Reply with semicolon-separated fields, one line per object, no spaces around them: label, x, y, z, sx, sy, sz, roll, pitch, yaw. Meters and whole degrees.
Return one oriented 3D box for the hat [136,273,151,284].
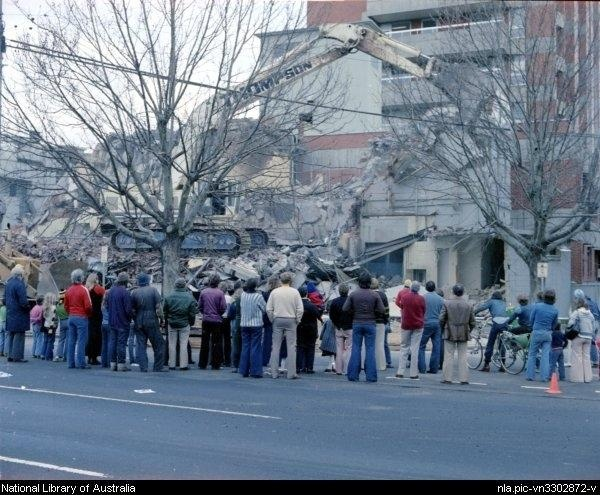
hat;-3.602;0.707;22.265;0.260;0.369;1.074;0;-8;-10

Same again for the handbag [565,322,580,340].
handbag;6.331;1.934;22.519;0.295;0.353;0.254;18;14;31

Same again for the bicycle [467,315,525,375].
bicycle;5.171;2.549;24.458;0.899;1.263;2.000;3;6;-19

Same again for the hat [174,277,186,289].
hat;-2.730;0.809;22.263;0.242;0.244;0.210;-13;26;-26

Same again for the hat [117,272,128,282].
hat;-4.336;0.711;23.740;0.337;0.177;0.500;2;12;-10
